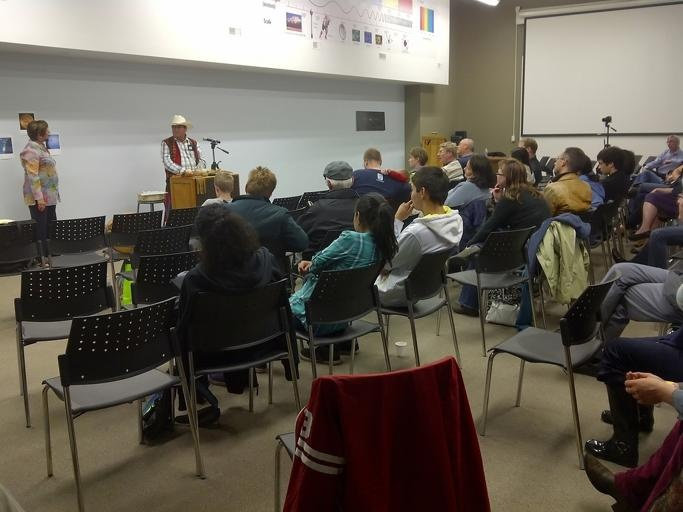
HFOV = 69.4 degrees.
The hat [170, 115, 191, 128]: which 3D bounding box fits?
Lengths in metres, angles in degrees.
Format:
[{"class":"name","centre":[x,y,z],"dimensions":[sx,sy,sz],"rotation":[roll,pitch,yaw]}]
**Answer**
[{"class":"hat","centre":[-2.368,-1.992,7.347],"dimensions":[0.290,0.154,0.352],"rotation":[5,10,41]}]

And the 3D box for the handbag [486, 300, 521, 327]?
[{"class":"handbag","centre":[1.425,0.474,4.386],"dimensions":[0.178,0.188,0.238],"rotation":[3,-1,-41]}]
